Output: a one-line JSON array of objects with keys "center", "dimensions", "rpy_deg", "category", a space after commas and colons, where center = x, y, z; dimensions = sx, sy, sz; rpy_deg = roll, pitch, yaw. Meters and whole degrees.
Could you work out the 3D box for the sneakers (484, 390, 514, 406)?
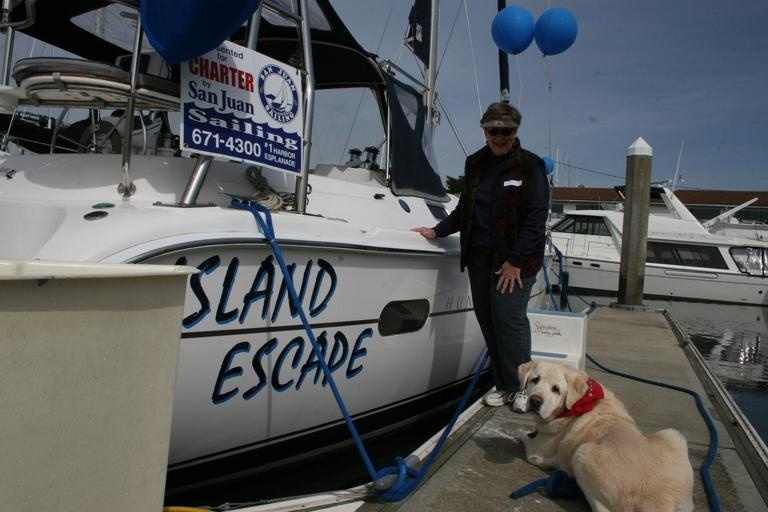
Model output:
[{"center": [0.796, 0.998, 4.003], "dimensions": [0.191, 0.110, 0.086], "rpy_deg": [4, 0, -3], "category": "sneakers"}]
